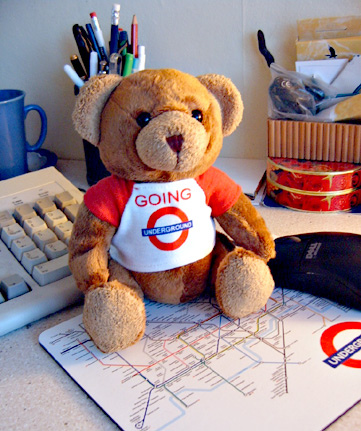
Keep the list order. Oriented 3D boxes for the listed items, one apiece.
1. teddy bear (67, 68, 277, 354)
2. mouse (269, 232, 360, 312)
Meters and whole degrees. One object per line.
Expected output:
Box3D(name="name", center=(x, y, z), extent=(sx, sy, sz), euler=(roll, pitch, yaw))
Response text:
Box3D(name="teddy bear", center=(-0.012, -0.011, 0.344), extent=(0.207, 0.202, 0.157), euler=(-16, 30, -35))
Box3D(name="mouse", center=(0.136, 0.049, 0.404), extent=(0.087, 0.049, 0.084), euler=(10, 34, 16))
